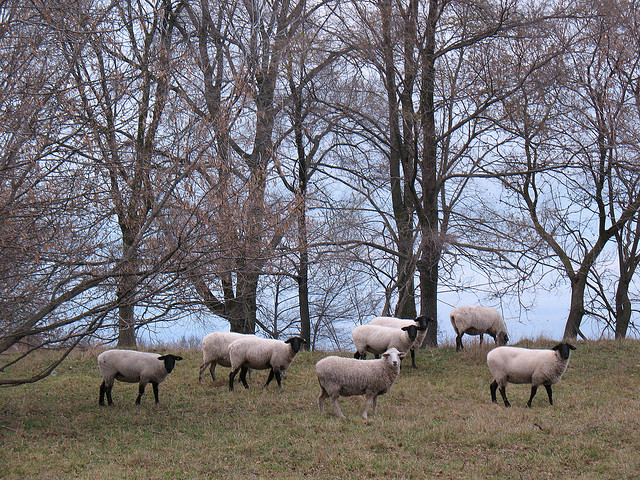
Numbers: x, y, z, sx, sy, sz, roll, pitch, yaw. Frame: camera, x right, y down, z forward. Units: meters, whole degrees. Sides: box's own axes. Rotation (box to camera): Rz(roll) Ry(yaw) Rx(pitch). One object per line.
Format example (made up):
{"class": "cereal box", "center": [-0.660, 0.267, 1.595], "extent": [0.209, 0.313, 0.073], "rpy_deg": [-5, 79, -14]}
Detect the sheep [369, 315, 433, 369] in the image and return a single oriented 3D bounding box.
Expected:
{"class": "sheep", "center": [2.061, 3.207, 31.264], "extent": [2.064, 1.641, 0.670], "rpy_deg": [8, 15, 35]}

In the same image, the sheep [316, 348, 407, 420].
{"class": "sheep", "center": [1.096, 3.744, 27.135], "extent": [2.278, 2.186, 1.032], "rpy_deg": [1, 10, 2]}

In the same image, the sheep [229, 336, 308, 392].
{"class": "sheep", "center": [-1.481, 3.515, 29.188], "extent": [2.191, 1.783, 1.020], "rpy_deg": [-1, 17, 1]}

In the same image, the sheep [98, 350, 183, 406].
{"class": "sheep", "center": [-4.824, 3.694, 28.156], "extent": [2.386, 1.870, 1.172], "rpy_deg": [0, 1, -13]}

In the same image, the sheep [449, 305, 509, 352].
{"class": "sheep", "center": [5.121, 2.882, 32.900], "extent": [2.256, 1.509, 0.624], "rpy_deg": [6, -3, -26]}

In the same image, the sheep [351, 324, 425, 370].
{"class": "sheep", "center": [1.923, 3.029, 30.274], "extent": [2.167, 1.405, 0.772], "rpy_deg": [9, 15, 26]}

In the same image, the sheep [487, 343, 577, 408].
{"class": "sheep", "center": [5.681, 3.596, 27.911], "extent": [2.213, 2.092, 1.041], "rpy_deg": [3, 13, 21]}
